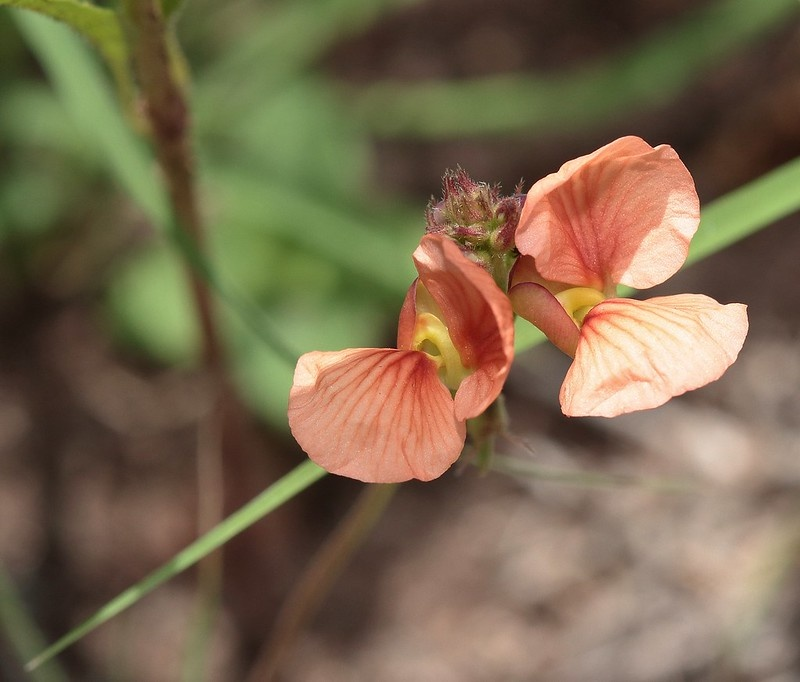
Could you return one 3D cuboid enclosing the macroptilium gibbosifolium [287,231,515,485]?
[{"bbox_3d":[0.012,0.023,1.134,0.306,0.264,0.157,-8,4,16],"label":"macroptilium gibbosifolium"}]
